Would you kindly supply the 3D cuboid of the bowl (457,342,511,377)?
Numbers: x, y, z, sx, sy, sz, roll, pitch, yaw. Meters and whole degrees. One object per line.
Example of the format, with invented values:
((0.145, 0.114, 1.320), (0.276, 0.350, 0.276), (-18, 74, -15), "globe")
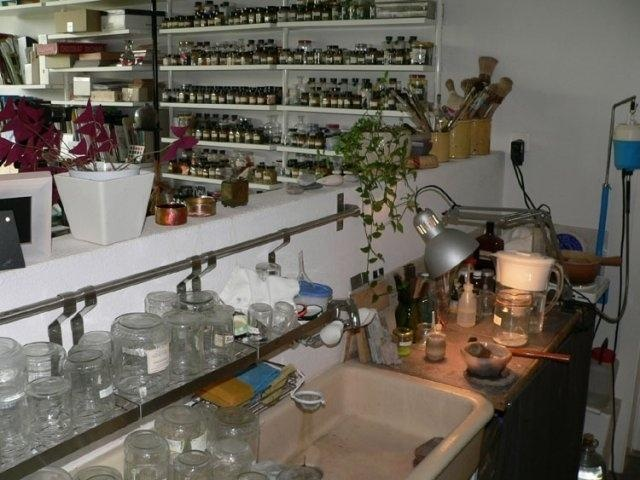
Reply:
((0.619, 0.444, 1.813), (0.127, 0.063, 0.131), (-1, 11, 0), "bowl")

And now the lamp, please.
((0.568, -0.045, 1.675), (0.482, 0.314, 0.186), (-7, -6, 0), "lamp")

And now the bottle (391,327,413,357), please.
((0.333, 0.414, 1.962), (0.096, 0.109, 0.096), (-2, 5, -15), "bottle")

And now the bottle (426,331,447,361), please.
((0.470, 0.412, 1.978), (0.087, 0.110, 0.174), (4, 15, 15), "bottle")

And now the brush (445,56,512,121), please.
((0.893, -0.898, 2.985), (0.463, 0.462, 0.151), (-3, 20, -29), "brush")

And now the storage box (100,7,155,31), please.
((-1.830, -2.041, 4.530), (0.565, 0.202, 0.217), (5, 15, 18), "storage box")

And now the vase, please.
((-0.532, -0.066, 1.209), (0.184, 0.162, 0.220), (5, 8, 39), "vase")

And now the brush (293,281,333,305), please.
((-0.025, 0.169, 1.544), (0.094, 0.035, 0.073), (2, 5, -19), "brush")

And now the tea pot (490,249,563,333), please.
((0.888, 0.177, 2.247), (0.381, 0.415, 0.294), (7, 19, 24), "tea pot")

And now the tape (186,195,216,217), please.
((-0.349, -0.108, 1.452), (0.065, 0.039, 0.067), (8, 18, 22), "tape")

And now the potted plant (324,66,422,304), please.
((0.216, -0.161, 1.964), (0.326, 0.774, 0.281), (26, -34, -34), "potted plant")

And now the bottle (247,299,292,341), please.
((-0.136, 0.214, 1.311), (0.063, 0.083, 0.142), (6, 11, 29), "bottle")

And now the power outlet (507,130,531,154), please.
((1.301, -0.644, 3.176), (0.163, 0.169, 0.018), (3, 5, 31), "power outlet")
